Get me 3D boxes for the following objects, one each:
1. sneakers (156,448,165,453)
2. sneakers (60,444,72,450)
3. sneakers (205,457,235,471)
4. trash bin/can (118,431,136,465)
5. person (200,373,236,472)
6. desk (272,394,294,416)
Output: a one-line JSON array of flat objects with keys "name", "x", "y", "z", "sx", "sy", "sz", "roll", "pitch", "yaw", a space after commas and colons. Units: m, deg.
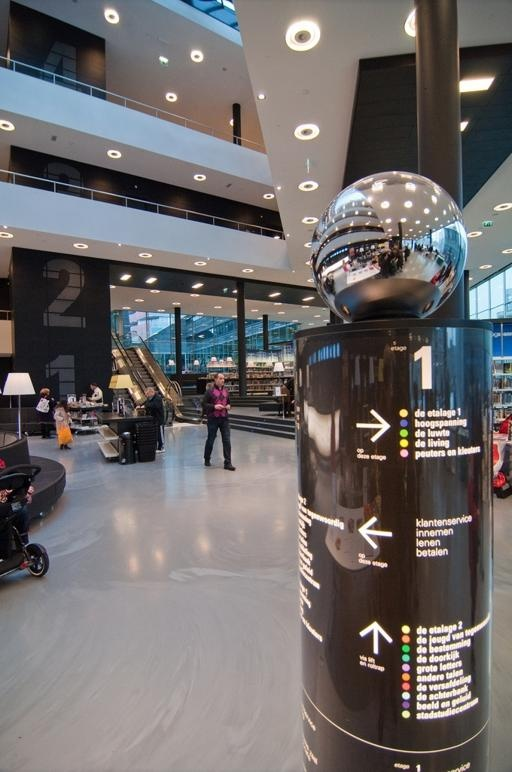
[{"name": "sneakers", "x": -1.567, "y": 1.057, "z": 8.948, "sx": 0.137, "sy": 0.067, "sz": 0.049, "roll": -5, "pitch": -6, "yaw": 16}, {"name": "sneakers", "x": -3.363, "y": 1.071, "z": 9.591, "sx": 0.172, "sy": 0.143, "sz": 0.067, "roll": -2, "pitch": 3, "yaw": 9}, {"name": "sneakers", "x": -0.439, "y": 0.986, "z": 7.127, "sx": 0.487, "sy": 0.233, "sz": 0.146, "roll": 0, "pitch": -1, "yaw": 40}, {"name": "trash bin/can", "x": -1.860, "y": 0.893, "z": 7.942, "sx": 0.192, "sy": 0.432, "sz": 0.352, "roll": -1, "pitch": 1, "yaw": 13}, {"name": "person", "x": -0.513, "y": 0.455, "z": 7.335, "sx": 0.393, "sy": 1.241, "sz": 1.667, "roll": -1, "pitch": 1, "yaw": -5}, {"name": "desk", "x": 0.690, "y": 0.423, "z": 13.200, "sx": 0.404, "sy": 0.523, "sz": 1.845, "roll": -1, "pitch": 2, "yaw": 4}]
